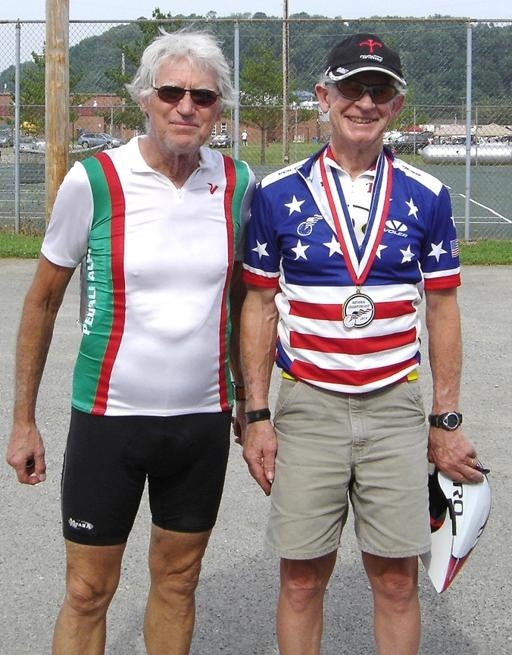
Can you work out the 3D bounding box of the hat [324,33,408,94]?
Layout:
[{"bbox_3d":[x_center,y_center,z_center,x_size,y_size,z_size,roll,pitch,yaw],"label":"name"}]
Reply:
[{"bbox_3d":[0.317,-0.791,2.253,0.239,0.124,0.271,0,14,-13],"label":"hat"}]

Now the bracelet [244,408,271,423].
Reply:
[{"bbox_3d":[-0.008,0.251,2.207,0.054,0.022,0.051,-5,2,30],"label":"bracelet"}]

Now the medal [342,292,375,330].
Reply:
[{"bbox_3d":[0.267,-0.042,2.039,0.122,0.114,0.017,0,7,-1],"label":"medal"}]

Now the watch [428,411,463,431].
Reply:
[{"bbox_3d":[0.555,0.267,2.242,0.085,0.049,0.087,-3,-1,26],"label":"watch"}]

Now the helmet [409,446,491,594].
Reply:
[{"bbox_3d":[0.546,0.545,2.166,0.234,0.348,0.221,5,-20,35],"label":"helmet"}]
